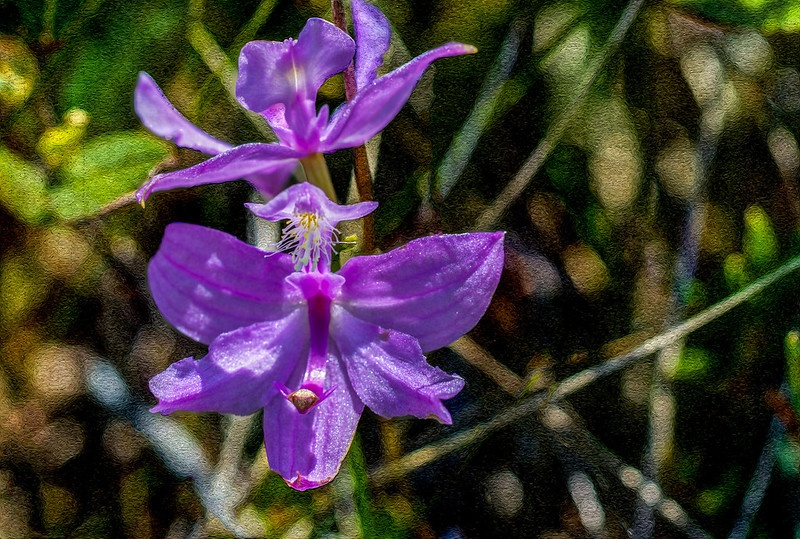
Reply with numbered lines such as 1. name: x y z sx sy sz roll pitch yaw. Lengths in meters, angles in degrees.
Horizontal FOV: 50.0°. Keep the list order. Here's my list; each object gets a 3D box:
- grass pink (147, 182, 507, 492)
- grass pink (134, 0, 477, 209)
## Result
1. grass pink: -0.162 0.082 1.563 0.529 0.283 0.615 46 57 -14
2. grass pink: -0.141 -0.235 1.548 0.459 0.424 0.162 -25 102 8
